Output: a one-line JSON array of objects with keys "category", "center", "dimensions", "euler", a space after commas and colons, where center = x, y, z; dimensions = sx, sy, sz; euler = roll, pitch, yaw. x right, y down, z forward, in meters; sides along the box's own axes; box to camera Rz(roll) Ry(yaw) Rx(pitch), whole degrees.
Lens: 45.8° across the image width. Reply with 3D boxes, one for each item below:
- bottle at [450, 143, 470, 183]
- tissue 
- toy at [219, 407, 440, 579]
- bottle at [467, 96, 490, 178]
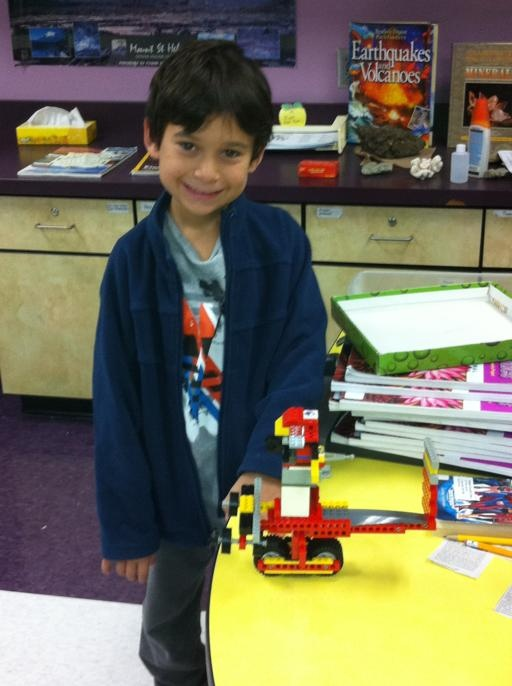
[{"category": "bottle", "center": [0.624, -0.548, 1.848], "dimensions": [0.054, 0.109, 0.110], "euler": [4, 23, 18]}, {"category": "tissue ", "center": [-0.788, -0.831, 2.357], "dimensions": [0.257, 0.131, 0.178], "euler": [1, 26, 1]}, {"category": "toy", "center": [0.045, 0.130, 0.641], "dimensions": [0.268, 0.219, 0.116], "euler": [0, 17, 1]}, {"category": "bottle", "center": [0.702, -0.645, 1.898], "dimensions": [0.065, 0.225, 0.163], "euler": [4, 23, 19]}]
